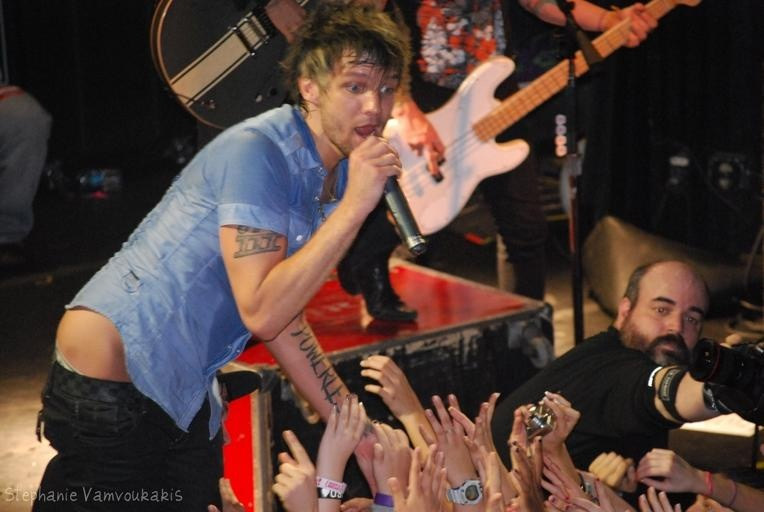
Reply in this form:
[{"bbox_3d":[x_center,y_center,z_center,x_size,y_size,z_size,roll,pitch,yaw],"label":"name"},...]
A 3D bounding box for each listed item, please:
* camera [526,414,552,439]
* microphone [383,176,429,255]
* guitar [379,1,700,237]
[{"bbox_3d":[0.618,0.675,3.180,0.089,0.112,0.175,2,3,3],"label":"camera"},{"bbox_3d":[0.061,-0.112,2.455,0.081,0.299,0.079,-20,-9,-20],"label":"microphone"},{"bbox_3d":[0.719,-0.642,3.547,1.088,0.335,0.142,-31,19,5],"label":"guitar"}]
